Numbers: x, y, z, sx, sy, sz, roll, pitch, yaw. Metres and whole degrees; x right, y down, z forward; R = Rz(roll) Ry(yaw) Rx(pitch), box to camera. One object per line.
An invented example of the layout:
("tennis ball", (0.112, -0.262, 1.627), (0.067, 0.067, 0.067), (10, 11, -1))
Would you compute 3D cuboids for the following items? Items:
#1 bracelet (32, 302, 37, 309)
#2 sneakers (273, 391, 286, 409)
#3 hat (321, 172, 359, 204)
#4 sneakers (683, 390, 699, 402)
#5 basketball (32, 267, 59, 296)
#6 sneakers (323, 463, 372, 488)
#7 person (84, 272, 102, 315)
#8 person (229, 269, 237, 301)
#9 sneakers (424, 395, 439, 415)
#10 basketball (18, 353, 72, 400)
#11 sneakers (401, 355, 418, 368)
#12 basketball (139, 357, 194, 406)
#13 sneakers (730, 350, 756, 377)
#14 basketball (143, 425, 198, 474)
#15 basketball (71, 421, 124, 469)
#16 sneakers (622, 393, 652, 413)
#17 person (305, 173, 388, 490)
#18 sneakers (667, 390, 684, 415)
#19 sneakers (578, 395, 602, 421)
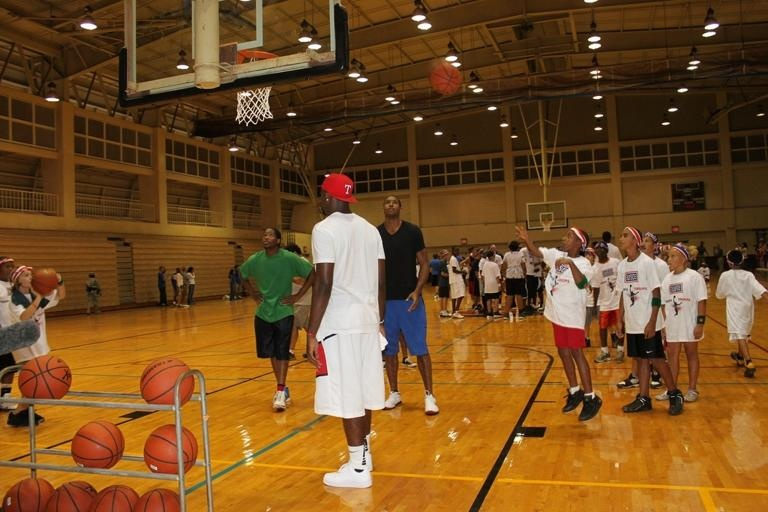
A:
("bracelet", (-4.050, 0.569, 6.428), (0.048, 0.054, 0.079), (-1, -8, -6))
("sneakers", (-1.318, 1.862, 7.128), (0.185, 0.236, 0.155), (-4, 1, -25))
("hat", (-0.443, -0.674, 5.399), (0.338, 0.186, 0.250), (26, 18, 34))
("sneakers", (3.816, 1.749, 6.905), (0.243, 0.103, 0.102), (2, -1, -18))
("basketball", (-3.530, 0.256, 5.840), (0.293, 0.335, 0.278), (-5, 5, -23))
("sneakers", (-0.338, 2.092, 5.276), (0.413, 0.178, 0.218), (2, -7, 12))
("person", (-10.739, 1.357, 20.448), (0.502, 1.621, 1.550), (-4, 1, -28))
("person", (-7.184, 1.346, 26.376), (0.374, 1.413, 1.171), (-4, 1, -16))
("sneakers", (0.592, 1.854, 6.853), (0.147, 0.156, 0.399), (-2, -12, 3))
("basketball", (-3.068, 1.083, 5.144), (0.421, 0.424, 0.420), (1, 5, 33))
("sneakers", (0.472, 1.832, 9.479), (0.317, 0.136, 0.128), (0, 3, -20))
("basketball", (-1.842, 1.057, 4.796), (0.417, 0.414, 0.400), (-4, -8, 13))
("sneakers", (5.303, 1.588, 8.132), (0.180, 0.258, 0.578), (-3, 8, 10))
("basketball", (-1.806, 1.633, 4.675), (0.406, 0.421, 0.282), (-3, 1, 13))
("basketball", (-2.442, 1.620, 4.898), (0.417, 0.407, 0.408), (1, -9, -7))
("sneakers", (3.074, 1.788, 6.721), (0.440, 0.203, 0.154), (0, -2, -11))
("person", (-0.341, 0.696, 5.311), (0.844, 2.558, 0.471), (-4, 1, -23))
("sneakers", (3.434, 1.722, 6.495), (0.121, 0.153, 0.358), (-15, 1, 29))
("sneakers", (2.355, 1.753, 6.332), (0.154, 0.180, 0.401), (-3, 37, 47))
